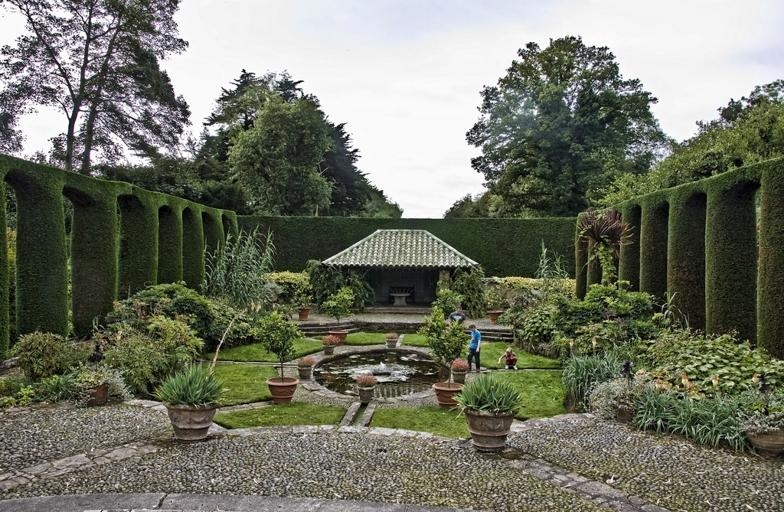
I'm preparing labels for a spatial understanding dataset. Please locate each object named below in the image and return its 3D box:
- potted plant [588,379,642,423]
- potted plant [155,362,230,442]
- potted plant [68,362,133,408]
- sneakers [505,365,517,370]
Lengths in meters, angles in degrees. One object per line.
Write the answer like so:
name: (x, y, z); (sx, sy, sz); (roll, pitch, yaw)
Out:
potted plant: (5.298, 3.387, 13.237); (1.046, 0.653, 0.967); (-10, -8, 3)
potted plant: (-4.546, 3.342, 12.497); (1.534, 1.411, 1.399); (7, -22, -20)
potted plant: (-7.366, 3.113, 13.709); (1.018, 0.746, 1.323); (-10, -16, 30)
sneakers: (3.593, 3.328, 16.712); (0.386, 0.142, 0.122); (8, -4, -14)
